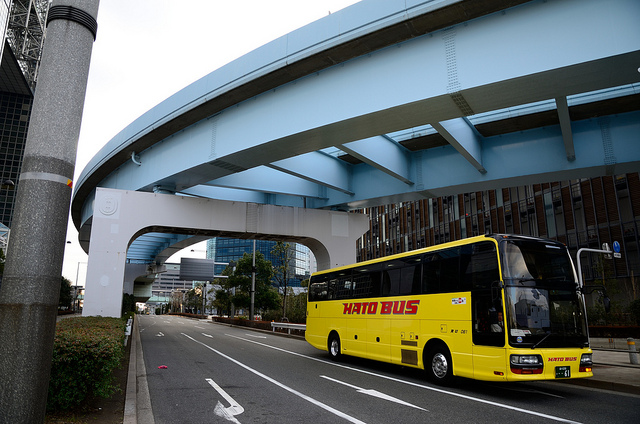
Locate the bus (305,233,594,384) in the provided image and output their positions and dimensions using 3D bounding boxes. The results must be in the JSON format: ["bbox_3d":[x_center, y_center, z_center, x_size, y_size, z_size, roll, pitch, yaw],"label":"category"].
[{"bbox_3d":[3.778,4.170,17.132,4.096,4.045,12.930,9,-16,-27],"label":"bus"}]
